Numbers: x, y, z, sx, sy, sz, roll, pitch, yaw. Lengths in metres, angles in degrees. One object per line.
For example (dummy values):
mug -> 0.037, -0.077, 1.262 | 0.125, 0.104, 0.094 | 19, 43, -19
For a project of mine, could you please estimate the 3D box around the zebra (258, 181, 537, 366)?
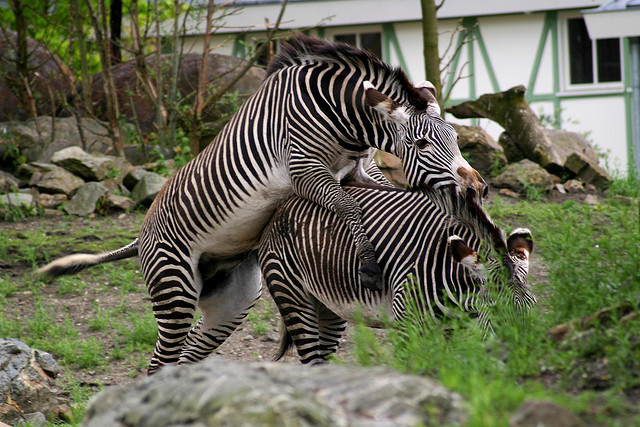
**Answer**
zebra -> 0.680, 0.578, 7.205 | 2.456, 1.731, 0.973 | 4, 7, 31

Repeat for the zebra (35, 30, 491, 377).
zebra -> -0.844, 0.135, 7.825 | 5.036, 2.558, 1.263 | -26, -18, 17
